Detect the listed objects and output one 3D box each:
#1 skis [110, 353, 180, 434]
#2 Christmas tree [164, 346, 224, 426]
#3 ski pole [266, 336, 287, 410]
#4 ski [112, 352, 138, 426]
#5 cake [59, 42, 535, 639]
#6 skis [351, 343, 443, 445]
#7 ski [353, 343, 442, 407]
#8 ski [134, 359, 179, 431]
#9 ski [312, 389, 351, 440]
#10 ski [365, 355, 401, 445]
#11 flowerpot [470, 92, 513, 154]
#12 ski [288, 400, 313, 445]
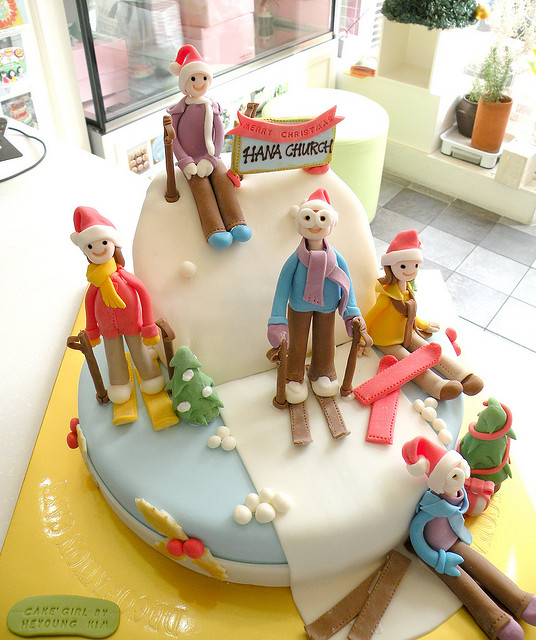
[{"bbox_3d":[-0.418,0.275,1.709,0.157,0.038,0.296,-12,48,-16],"label":"skis"},{"bbox_3d":[-0.244,0.213,1.615,0.171,0.255,0.157,-12,6,-21],"label":"Christmas tree"},{"bbox_3d":[0.029,0.179,1.632,0.072,0.256,0.051,15,56,7],"label":"ski pole"},{"bbox_3d":[-0.481,0.222,1.673,0.073,0.028,0.252,-4,53,-11],"label":"ski"},{"bbox_3d":[0.012,0.293,1.996,1.532,1.086,1.851,-13,49,-14],"label":"cake"},{"bbox_3d":[0.433,0.217,1.721,0.189,0.019,0.464,26,56,24],"label":"skis"},{"bbox_3d":[0.455,0.183,1.745,0.335,0.091,0.041,-36,11,20],"label":"ski"},{"bbox_3d":[-0.347,0.275,1.625,0.096,0.121,0.151,-8,49,-10],"label":"ski"},{"bbox_3d":[0.215,0.306,1.617,0.046,0.031,0.156,-9,46,-11],"label":"ski"},{"bbox_3d":[0.395,0.247,1.648,0.089,0.024,0.347,9,39,18],"label":"ski"},{"bbox_3d":[1.750,-1.539,3.894,0.235,0.387,0.238,-13,46,-8],"label":"flowerpot"},{"bbox_3d":[0.102,0.326,1.609,0.059,0.024,0.215,-7,23,1],"label":"ski"}]
